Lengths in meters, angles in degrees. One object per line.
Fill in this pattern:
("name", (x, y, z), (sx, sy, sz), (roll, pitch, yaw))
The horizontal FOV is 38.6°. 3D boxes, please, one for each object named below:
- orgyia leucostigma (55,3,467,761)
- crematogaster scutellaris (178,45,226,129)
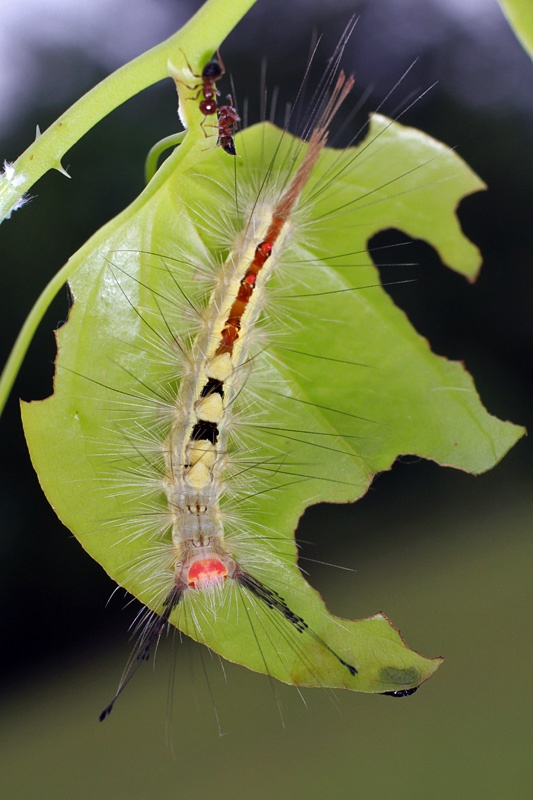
("orgyia leucostigma", (-0.153, -0.056, 2.195), (1.348, 0.238, 2.078), (2, 83, 4))
("crematogaster scutellaris", (-0.192, -0.940, 2.277), (0.117, 0.171, 0.208), (-6, 39, 3))
